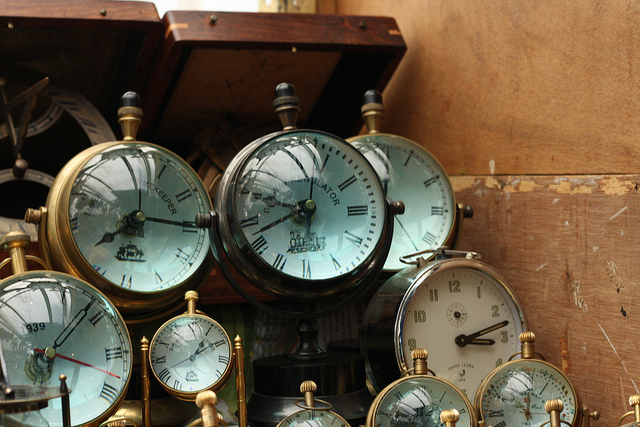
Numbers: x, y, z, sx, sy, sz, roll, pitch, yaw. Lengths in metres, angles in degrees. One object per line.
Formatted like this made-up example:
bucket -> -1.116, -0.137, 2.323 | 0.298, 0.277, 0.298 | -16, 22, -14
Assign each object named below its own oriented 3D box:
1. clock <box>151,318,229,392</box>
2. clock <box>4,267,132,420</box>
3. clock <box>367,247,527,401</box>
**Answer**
clock -> -0.365, 0.401, 2.997 | 0.214, 0.168, 0.113 | -2, 21, -7
clock -> -0.749, 0.370, 3.033 | 0.382, 0.389, 0.102 | -36, 11, -39
clock -> 0.365, 0.334, 3.035 | 0.381, 0.467, 0.244 | 1, -15, -23
